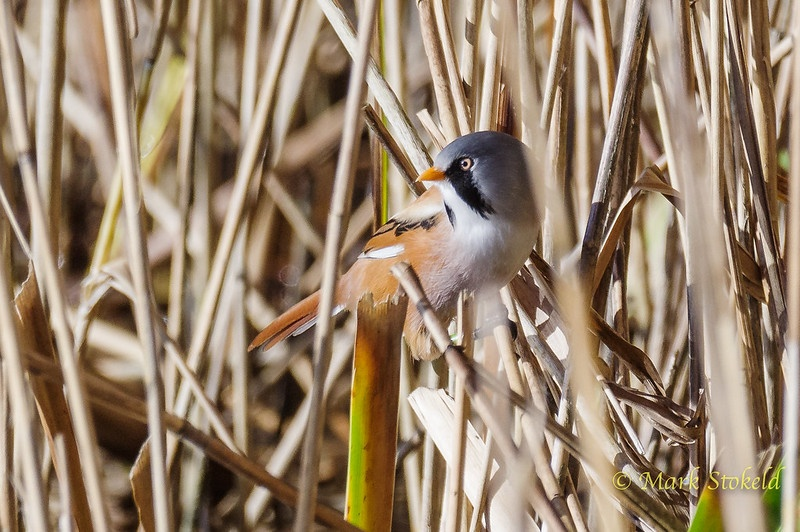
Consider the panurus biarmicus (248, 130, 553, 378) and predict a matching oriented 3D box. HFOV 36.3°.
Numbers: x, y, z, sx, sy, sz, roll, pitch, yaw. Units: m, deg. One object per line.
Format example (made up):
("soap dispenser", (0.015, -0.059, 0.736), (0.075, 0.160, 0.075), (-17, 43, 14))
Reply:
("panurus biarmicus", (-0.022, -0.004, 2.666), (0.562, 0.482, 0.326), (-5, -12, 7))
